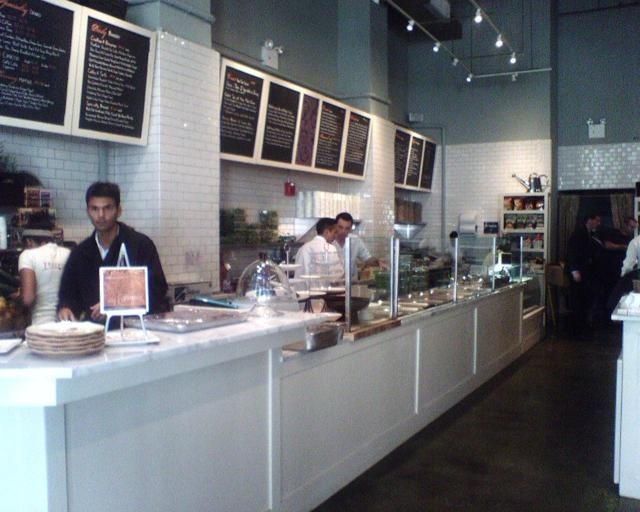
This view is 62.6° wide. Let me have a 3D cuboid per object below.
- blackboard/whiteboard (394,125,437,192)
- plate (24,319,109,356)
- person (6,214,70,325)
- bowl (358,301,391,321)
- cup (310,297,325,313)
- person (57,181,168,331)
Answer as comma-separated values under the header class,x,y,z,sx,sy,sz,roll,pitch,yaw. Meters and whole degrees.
class,x,y,z,sx,sy,sz,roll,pitch,yaw
blackboard/whiteboard,1.592,-1.590,8.783,0.176,0.935,1.480,1,4,35
plate,-0.982,0.318,2.038,0.280,0.112,0.216,-2,3,-16
person,-2.067,0.074,4.004,0.305,0.826,0.433,-1,3,3
bowl,0.367,0.382,3.682,0.132,0.076,0.197,-1,6,10
cup,-0.010,0.318,3.463,0.076,0.065,0.081,0,4,0
person,-1.573,-0.051,4.027,0.806,1.051,0.374,-2,3,-30
